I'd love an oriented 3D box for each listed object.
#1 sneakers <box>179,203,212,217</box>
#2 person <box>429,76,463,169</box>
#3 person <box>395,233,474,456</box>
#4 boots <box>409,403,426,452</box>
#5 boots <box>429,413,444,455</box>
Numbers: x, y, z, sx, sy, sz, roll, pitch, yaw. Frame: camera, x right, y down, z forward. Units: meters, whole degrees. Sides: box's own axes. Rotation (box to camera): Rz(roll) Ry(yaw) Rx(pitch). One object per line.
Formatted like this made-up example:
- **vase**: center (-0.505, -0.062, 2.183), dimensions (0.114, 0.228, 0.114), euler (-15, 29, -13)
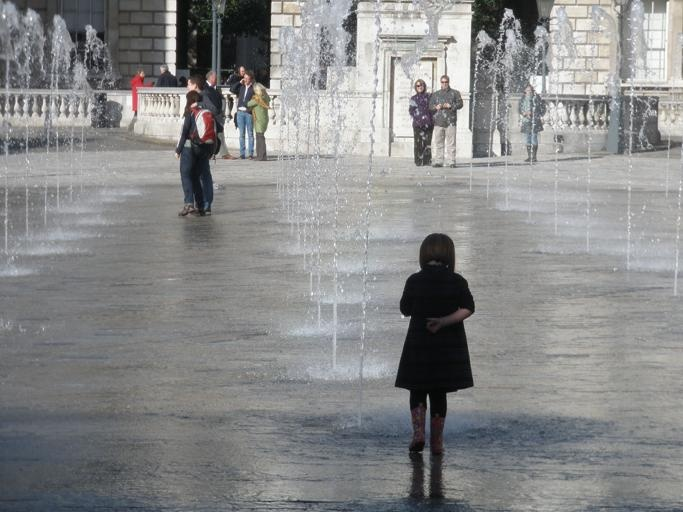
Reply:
- **sneakers**: center (-2.141, -0.659, 26.190), dimensions (0.488, 0.224, 0.166), euler (3, 4, -7)
- **person**: center (1.994, -2.590, 35.839), dimensions (0.604, 1.792, 0.800), euler (1, 14, 0)
- **person**: center (0.850, 0.796, 16.977), dimensions (0.700, 1.934, 0.659), euler (-6, 16, -27)
- **boots**: center (0.690, 1.571, 16.980), dimensions (0.148, 0.425, 0.282), euler (2, 14, 3)
- **boots**: center (0.863, 1.642, 16.899), dimensions (0.121, 0.334, 0.121), euler (1, 14, -1)
